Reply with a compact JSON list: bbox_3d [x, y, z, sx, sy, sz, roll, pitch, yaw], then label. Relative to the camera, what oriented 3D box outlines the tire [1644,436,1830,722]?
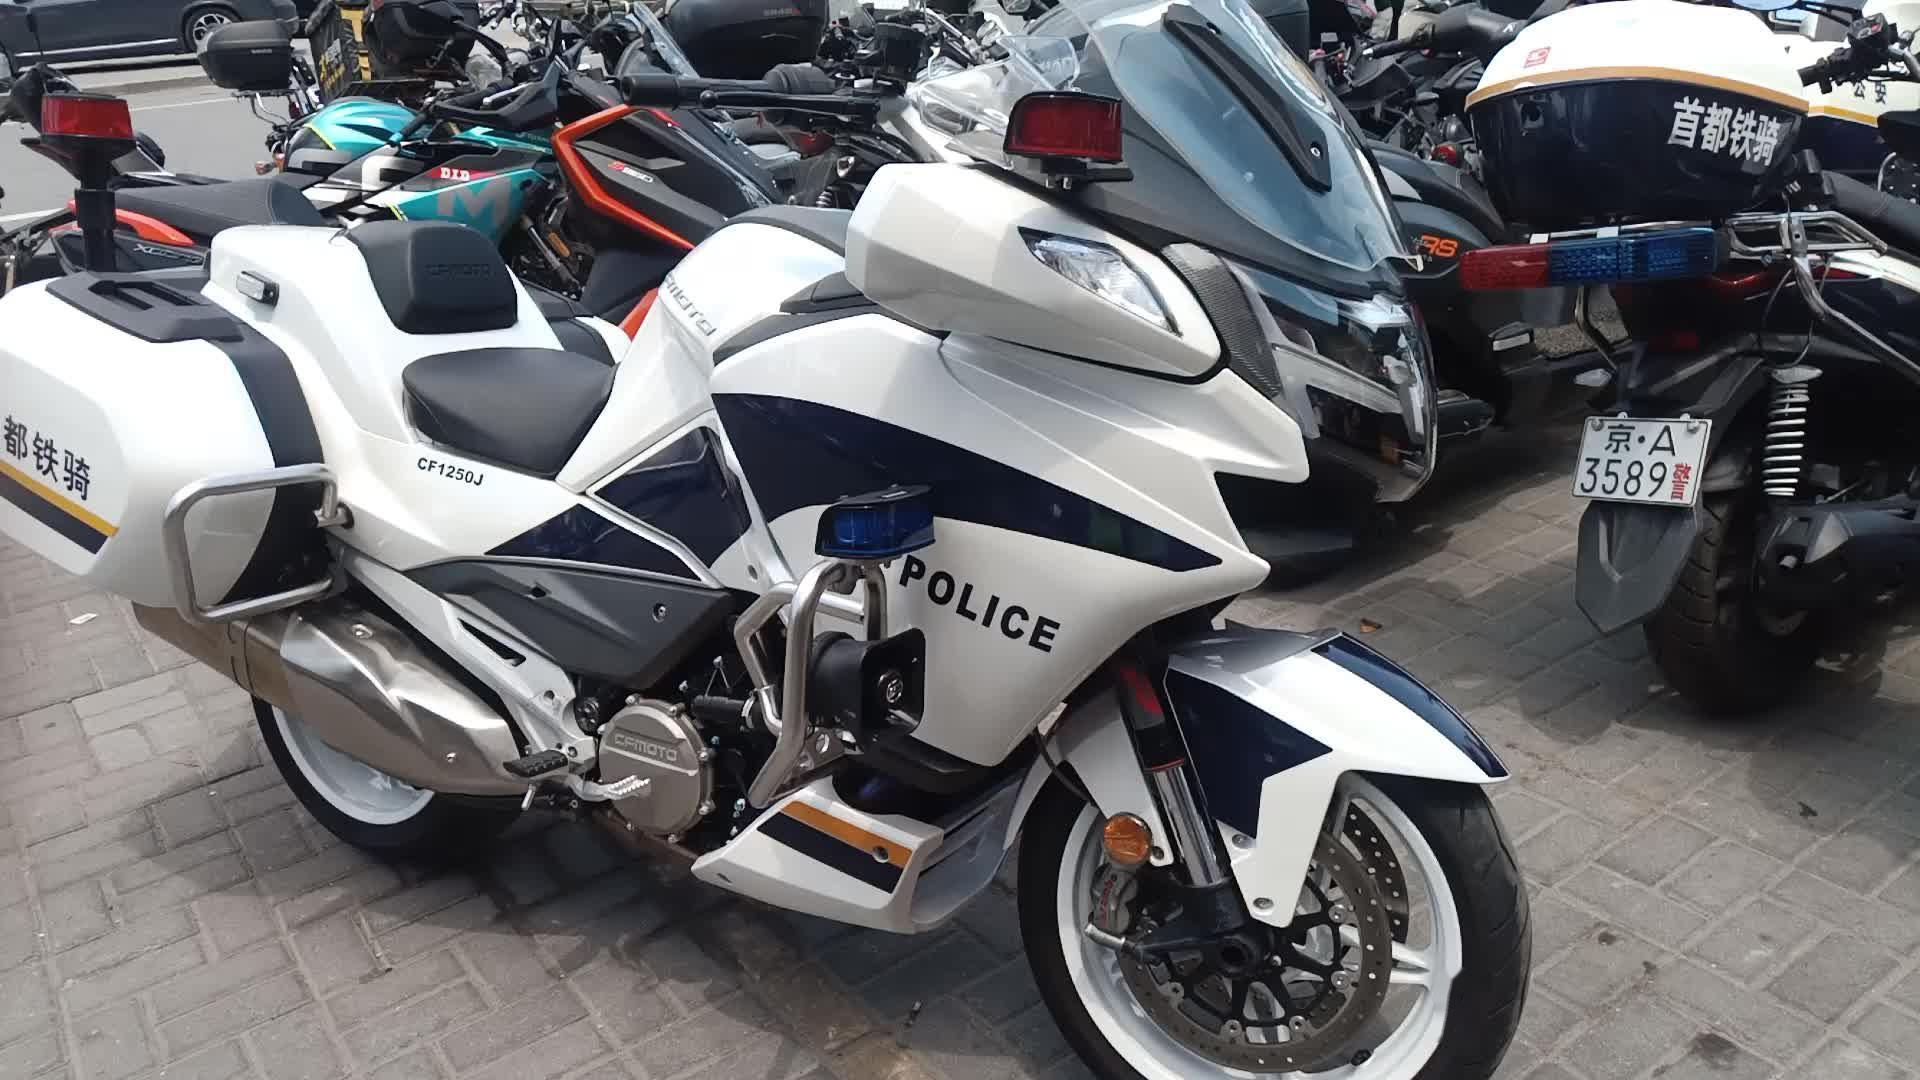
[{"bbox_3d":[2.835,0.104,4.727,1.009,1.036,0.356,12,5,-42],"label":"tire"}]

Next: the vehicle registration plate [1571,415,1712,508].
[{"bbox_3d":[2.474,-0.290,4.705,0.062,0.330,0.455,2,5,-35],"label":"vehicle registration plate"}]

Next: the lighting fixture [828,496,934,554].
[{"bbox_3d":[-0.206,-0.035,3.405,0.228,0.116,0.166,-3,3,-29],"label":"lighting fixture"}]

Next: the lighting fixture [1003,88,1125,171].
[{"bbox_3d":[0.257,-1.039,3.277,0.295,0.171,0.098,-5,37,5],"label":"lighting fixture"}]
